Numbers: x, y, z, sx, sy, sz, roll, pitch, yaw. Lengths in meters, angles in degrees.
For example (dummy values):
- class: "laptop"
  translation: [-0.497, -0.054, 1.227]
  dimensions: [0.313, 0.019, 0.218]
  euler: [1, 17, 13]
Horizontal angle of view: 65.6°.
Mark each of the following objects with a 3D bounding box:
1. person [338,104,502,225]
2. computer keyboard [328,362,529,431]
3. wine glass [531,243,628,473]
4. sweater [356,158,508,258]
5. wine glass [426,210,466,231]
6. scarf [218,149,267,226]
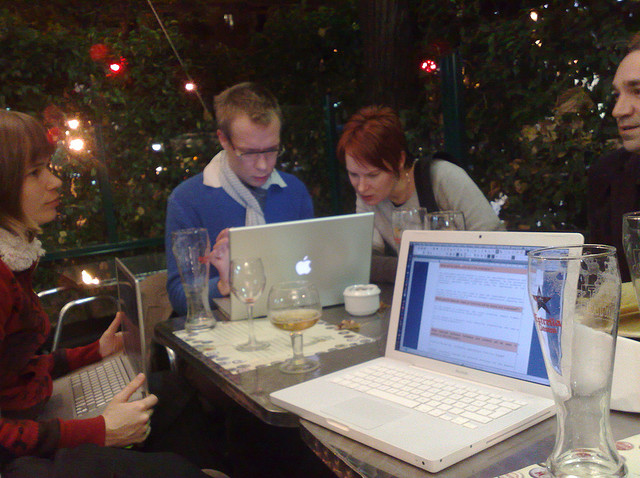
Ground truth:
- class: "person"
  translation: [0.510, -0.410, 2.696]
  dimensions: [0.810, 0.673, 0.373]
  euler: [-2, 8, 20]
- class: "computer keyboard"
  translation: [0.260, 0.392, 1.278]
  dimensions: [0.482, 0.041, 0.163]
  euler: [1, 9, 39]
- class: "wine glass"
  translation: [0.493, 0.224, 0.950]
  dimensions: [0.160, 0.423, 0.096]
  euler: [-4, 8, 4]
- class: "sweater"
  translation: [0.474, -0.155, 2.305]
  dimensions: [0.578, 0.413, 0.195]
  euler: [-2, 7, 43]
- class: "wine glass"
  translation: [0.482, -0.067, 1.926]
  dimensions: [0.119, 0.118, 0.122]
  euler: [-1, 4, 40]
- class: "scarf"
  translation: [-0.437, -0.265, 2.795]
  dimensions: [0.301, 0.413, 0.119]
  euler: [-10, 0, -39]
